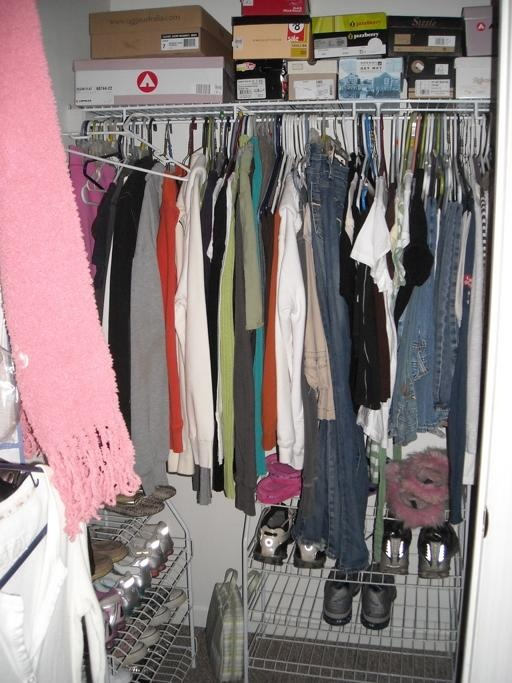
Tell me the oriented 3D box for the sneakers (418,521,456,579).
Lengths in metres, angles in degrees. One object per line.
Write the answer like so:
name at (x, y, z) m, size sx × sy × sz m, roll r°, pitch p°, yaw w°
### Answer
sneakers at (0.499, 0.587, 1.582) m, size 0.061 × 0.094 × 0.186 m, roll -1°, pitch -7°, yaw 9°

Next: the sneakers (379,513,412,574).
sneakers at (0.389, 0.590, 1.625) m, size 0.057 × 0.094 × 0.186 m, roll 1°, pitch -2°, yaw 2°

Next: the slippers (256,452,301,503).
slippers at (0.066, 0.433, 1.647) m, size 0.125 × 0.175 × 0.162 m, roll -2°, pitch 12°, yaw 4°

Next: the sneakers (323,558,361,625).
sneakers at (0.253, 0.756, 1.680) m, size 0.082 × 0.131 × 0.264 m, roll 0°, pitch 11°, yaw 7°

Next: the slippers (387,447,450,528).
slippers at (0.445, 0.411, 1.584) m, size 0.165 × 0.199 × 0.100 m, roll 2°, pitch 11°, yaw 20°

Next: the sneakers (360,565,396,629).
sneakers at (0.347, 0.750, 1.691) m, size 0.088 × 0.133 × 0.268 m, roll -2°, pitch 17°, yaw 6°
